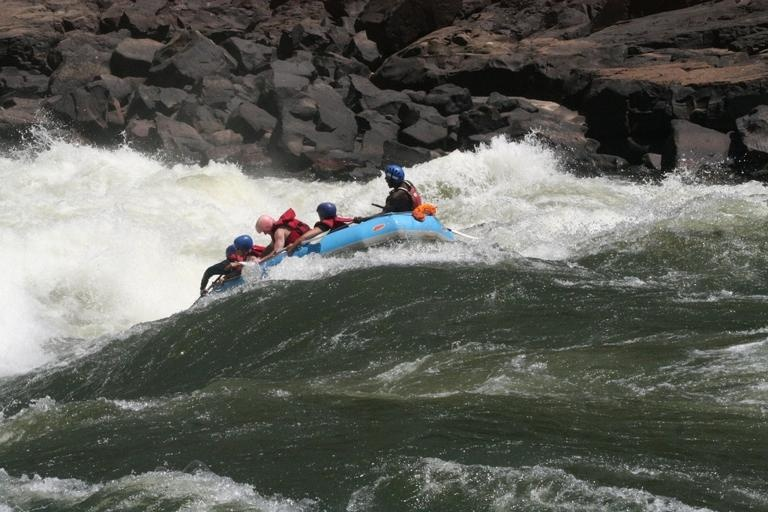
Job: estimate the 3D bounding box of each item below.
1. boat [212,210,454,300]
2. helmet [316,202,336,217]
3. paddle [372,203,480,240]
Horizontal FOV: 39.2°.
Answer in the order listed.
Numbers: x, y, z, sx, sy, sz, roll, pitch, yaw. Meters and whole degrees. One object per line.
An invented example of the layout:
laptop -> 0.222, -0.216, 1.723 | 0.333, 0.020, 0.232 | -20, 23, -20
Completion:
boat -> -1.378, -0.238, 27.094 | 5.201, 0.671, 2.279 | -14, 3, 5
helmet -> -1.429, -1.170, 27.400 | 0.442, 0.377, 0.416 | -12, 50, -25
paddle -> 1.060, -0.875, 28.203 | 4.500, 0.496, 0.432 | 12, 30, -38
